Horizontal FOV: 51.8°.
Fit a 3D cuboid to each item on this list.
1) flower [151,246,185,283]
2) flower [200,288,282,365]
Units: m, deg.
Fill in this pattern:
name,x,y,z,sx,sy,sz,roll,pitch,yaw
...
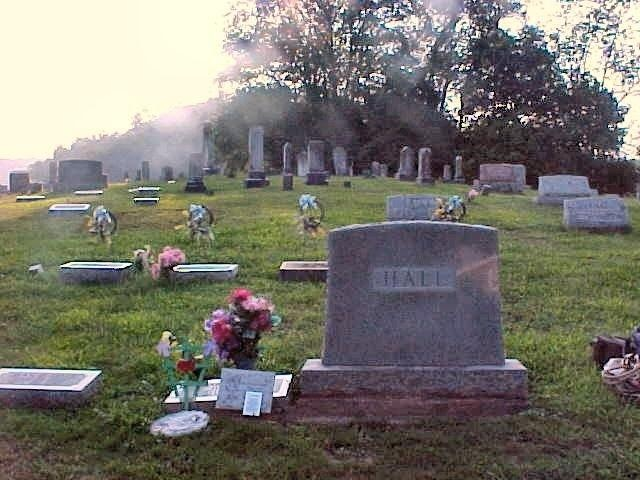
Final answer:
name,x,y,z,sx,sy,sz,roll,pitch,yaw
flower,-2.867,0.372,12.301,0.509,0.373,0.672,-2,27,-24
flower,-1.098,1.160,8.651,0.901,1.082,0.865,-11,-3,39
